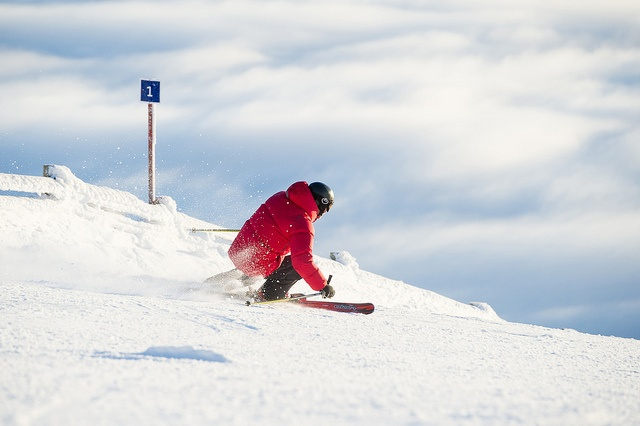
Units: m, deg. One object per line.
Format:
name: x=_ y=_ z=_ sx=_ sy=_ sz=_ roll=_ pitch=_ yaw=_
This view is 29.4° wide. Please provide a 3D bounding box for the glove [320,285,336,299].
glove: x=0.109 y=1.075 z=16.595 sx=0.172 sy=0.186 sz=0.286 roll=10 pitch=0 yaw=1
